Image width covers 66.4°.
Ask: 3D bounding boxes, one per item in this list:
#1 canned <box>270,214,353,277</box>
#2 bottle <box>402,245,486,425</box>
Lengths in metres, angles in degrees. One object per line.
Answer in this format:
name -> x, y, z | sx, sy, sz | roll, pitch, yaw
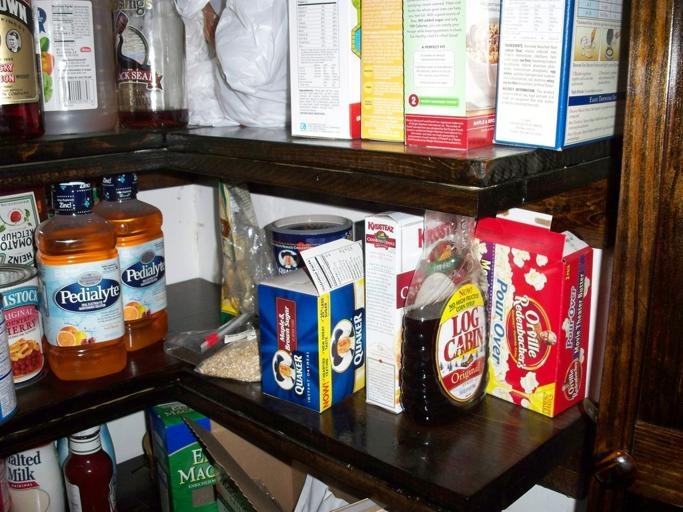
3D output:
canned -> -0.057, -0.046, 1.065 | 0.135, 0.102, 0.137 | 12, 30, 45
bottle -> 0.172, 0.118, 0.856 | 0.154, 0.281, 0.077 | -13, 21, -33
